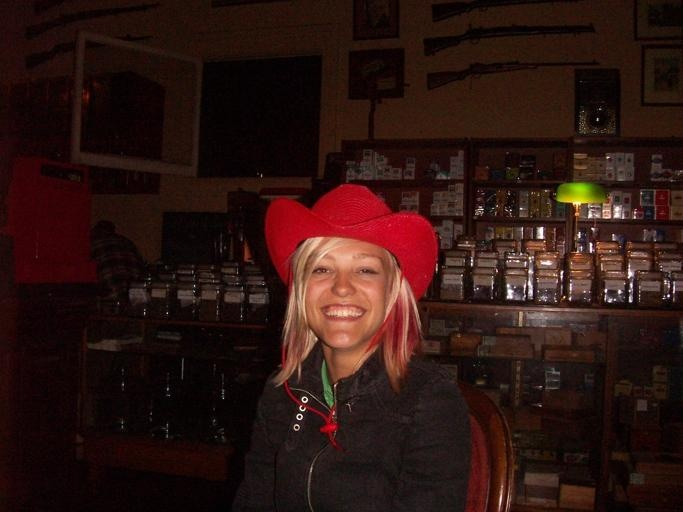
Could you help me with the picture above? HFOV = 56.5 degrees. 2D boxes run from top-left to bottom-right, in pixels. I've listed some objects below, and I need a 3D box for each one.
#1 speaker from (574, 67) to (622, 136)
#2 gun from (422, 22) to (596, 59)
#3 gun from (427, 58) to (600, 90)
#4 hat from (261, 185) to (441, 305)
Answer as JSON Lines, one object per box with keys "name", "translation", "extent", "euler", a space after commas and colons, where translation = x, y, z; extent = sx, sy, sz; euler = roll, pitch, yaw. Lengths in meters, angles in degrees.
{"name": "speaker", "translation": [2.604, -1.571, 6.446], "extent": [0.426, 0.703, 0.189], "euler": [2, -1, 16]}
{"name": "gun", "translation": [1.726, -2.246, 6.552], "extent": [1.720, 0.207, 0.158], "euler": [2, -1, 9]}
{"name": "gun", "translation": [1.721, -1.883, 6.562], "extent": [1.638, 0.203, 0.139], "euler": [2, -1, 8]}
{"name": "hat", "translation": [0.007, -0.038, 3.509], "extent": [0.718, 0.312, 0.754], "euler": [4, -32, 5]}
